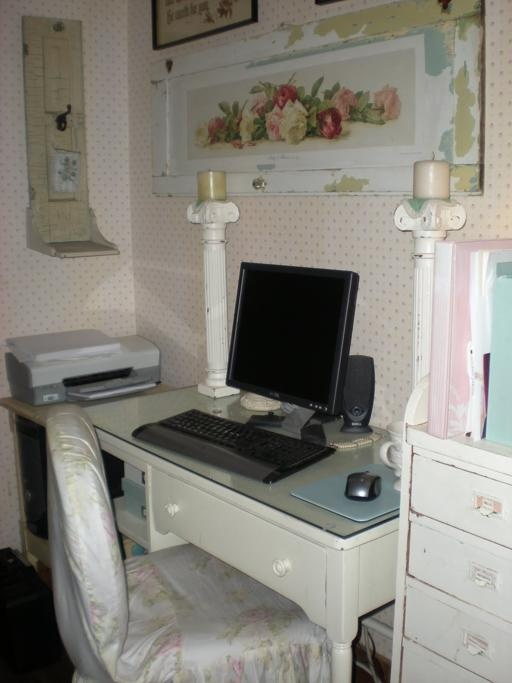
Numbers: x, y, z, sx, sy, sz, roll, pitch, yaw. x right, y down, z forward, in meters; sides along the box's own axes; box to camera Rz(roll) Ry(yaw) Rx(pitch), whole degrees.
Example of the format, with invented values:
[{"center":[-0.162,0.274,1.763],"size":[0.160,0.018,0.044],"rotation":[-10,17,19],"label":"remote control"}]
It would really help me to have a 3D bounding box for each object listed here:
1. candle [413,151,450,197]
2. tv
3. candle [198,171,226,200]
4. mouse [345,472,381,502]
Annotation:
[{"center":[0.345,-0.325,1.077],"size":[0.071,0.085,0.073],"rotation":[6,13,21],"label":"candle"},{"center":[0.103,-0.006,1.426],"size":[0.039,0.333,0.361],"rotation":[1,11,-38],"label":"tv"},{"center":[-0.126,-0.474,1.681],"size":[0.081,0.094,0.092],"rotation":[2,17,3],"label":"candle"},{"center":[0.200,0.265,1.005],"size":[0.076,0.046,0.060],"rotation":[0,6,-7],"label":"mouse"}]
